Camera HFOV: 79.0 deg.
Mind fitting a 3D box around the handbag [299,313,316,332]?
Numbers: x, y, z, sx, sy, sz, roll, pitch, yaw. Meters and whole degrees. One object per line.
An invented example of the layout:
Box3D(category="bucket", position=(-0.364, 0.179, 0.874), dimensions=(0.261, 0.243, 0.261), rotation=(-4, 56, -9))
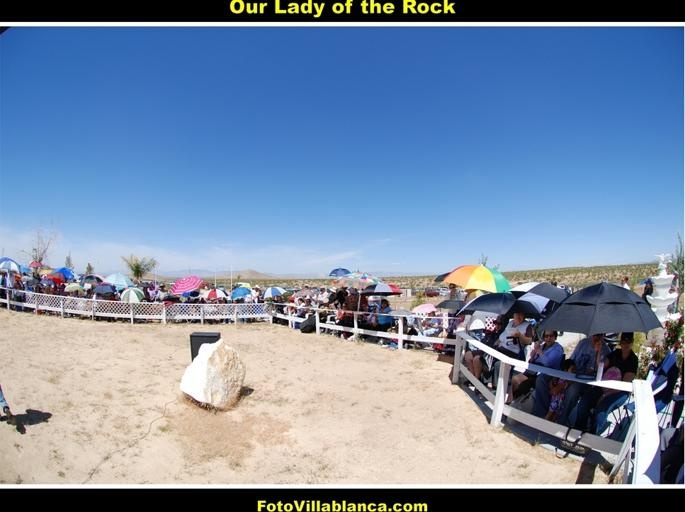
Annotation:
Box3D(category="handbag", position=(-1.302, 2.593, 16.007), dimensions=(0.612, 0.604, 0.240), rotation=(-45, -15, 19))

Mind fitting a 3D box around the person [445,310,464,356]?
Box3D(category="person", position=(3.348, 2.312, 12.486), dimensions=(0.455, 1.140, 0.901), rotation=(6, -5, 0))
